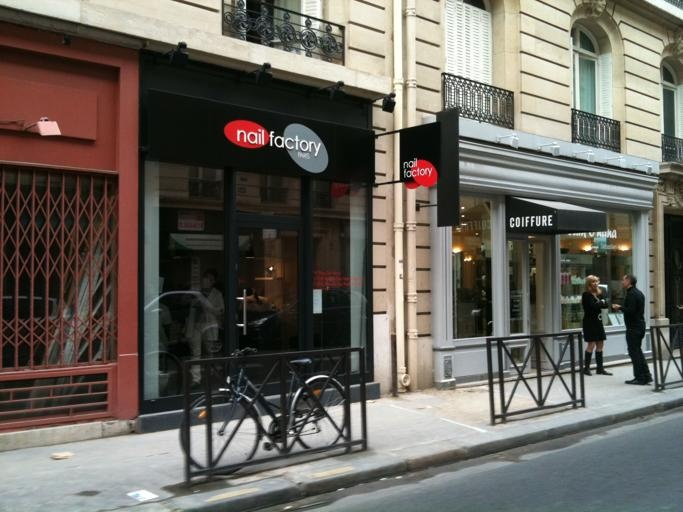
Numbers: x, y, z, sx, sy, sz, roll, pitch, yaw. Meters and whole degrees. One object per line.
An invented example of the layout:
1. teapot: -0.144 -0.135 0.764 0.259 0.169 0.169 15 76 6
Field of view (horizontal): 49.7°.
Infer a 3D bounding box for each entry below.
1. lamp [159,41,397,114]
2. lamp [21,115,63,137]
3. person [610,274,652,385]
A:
1. lamp: -1.106 -2.854 11.754 3.243 0.257 0.565 16 -43 -41
2. lamp: -4.089 -1.780 10.177 0.388 0.196 0.243 3 5 23
3. person: 6.150 1.631 15.825 0.853 2.505 0.816 -6 -36 29
